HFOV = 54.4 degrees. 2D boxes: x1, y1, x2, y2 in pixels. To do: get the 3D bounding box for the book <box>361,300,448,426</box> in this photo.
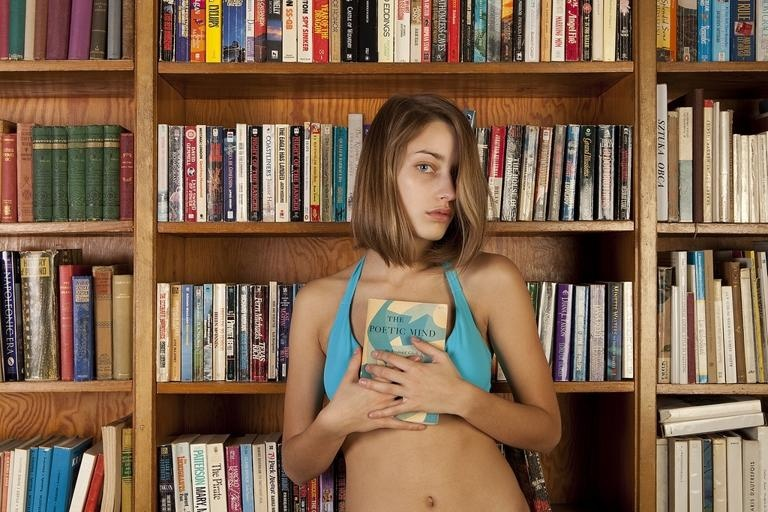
[{"bbox_3d":[0.055,0.316,2.397,0.281,0.385,0.084,4,-39,-6],"label":"book"}]
